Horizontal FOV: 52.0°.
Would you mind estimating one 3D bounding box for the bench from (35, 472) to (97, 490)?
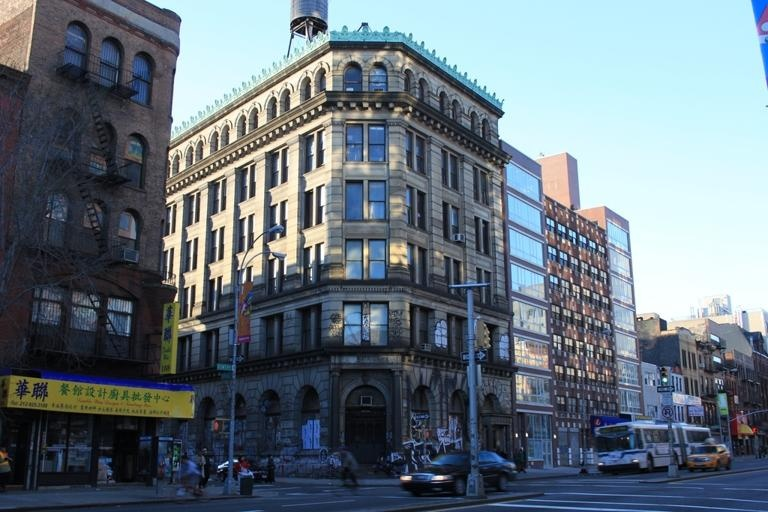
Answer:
[{"bbox_3d":[-20.054,13.965,49.374,3.119,0.924,0.147,14,-28,-36],"label":"bench"}]

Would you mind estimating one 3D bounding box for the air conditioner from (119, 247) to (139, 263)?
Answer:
[{"bbox_3d":[-17.449,0.005,53.754,1.522,1.014,0.867,5,-8,-37],"label":"air conditioner"}]

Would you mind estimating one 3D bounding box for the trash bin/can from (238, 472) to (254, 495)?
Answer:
[{"bbox_3d":[-8.033,13.275,45.686,0.693,1.157,0.709,2,-23,-13],"label":"trash bin/can"}]

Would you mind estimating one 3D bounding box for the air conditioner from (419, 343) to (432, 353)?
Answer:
[{"bbox_3d":[3.404,7.660,66.042,0.573,0.649,1.049,-11,-14,36],"label":"air conditioner"}]

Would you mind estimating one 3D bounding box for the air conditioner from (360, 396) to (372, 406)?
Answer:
[{"bbox_3d":[-1.507,11.605,63.110,0.820,0.650,0.725,0,-21,-2],"label":"air conditioner"}]

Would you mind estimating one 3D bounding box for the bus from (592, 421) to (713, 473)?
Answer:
[{"bbox_3d":[23.305,16.392,68.689,3.957,3.818,15.672,-13,-17,40],"label":"bus"}]
